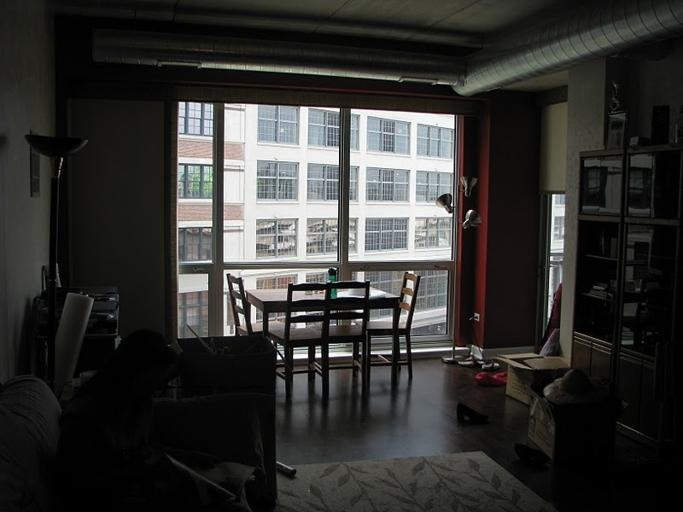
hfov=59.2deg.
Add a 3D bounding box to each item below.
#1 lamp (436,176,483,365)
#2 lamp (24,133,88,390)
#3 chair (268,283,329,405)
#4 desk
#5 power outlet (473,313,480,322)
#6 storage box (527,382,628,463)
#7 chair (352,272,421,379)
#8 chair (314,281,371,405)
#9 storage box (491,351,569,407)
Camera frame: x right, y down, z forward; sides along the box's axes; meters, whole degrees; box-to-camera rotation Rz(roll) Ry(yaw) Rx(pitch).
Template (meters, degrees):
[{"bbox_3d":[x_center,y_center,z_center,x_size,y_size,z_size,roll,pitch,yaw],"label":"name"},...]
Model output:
[{"bbox_3d":[1.416,0.142,7.337,0.525,2.199,0.727,2,8,14],"label":"lamp"},{"bbox_3d":[-2.185,-0.094,4.708,0.402,1.696,1.628,-4,9,-25],"label":"lamp"},{"bbox_3d":[-0.474,0.790,6.368,0.584,1.159,1.137,0,8,-4],"label":"chair"},{"bbox_3d":[-0.371,0.903,6.504,1.353,1.009,0.831,0,0,-13],"label":"desk"},{"bbox_3d":[1.678,0.761,7.479,0.058,0.117,0.113,1,-3,-16],"label":"power outlet"},{"bbox_3d":[1.862,1.304,4.790,0.557,0.422,0.492,-4,7,-25],"label":"storage box"},{"bbox_3d":[0.527,0.787,6.826,0.754,1.149,0.743,-2,6,-44],"label":"chair"},{"bbox_3d":[0.005,0.822,6.455,0.557,1.148,0.591,0,2,-16],"label":"chair"},{"bbox_3d":[1.856,1.141,5.879,0.474,0.239,0.485,-1,9,-12],"label":"storage box"}]
